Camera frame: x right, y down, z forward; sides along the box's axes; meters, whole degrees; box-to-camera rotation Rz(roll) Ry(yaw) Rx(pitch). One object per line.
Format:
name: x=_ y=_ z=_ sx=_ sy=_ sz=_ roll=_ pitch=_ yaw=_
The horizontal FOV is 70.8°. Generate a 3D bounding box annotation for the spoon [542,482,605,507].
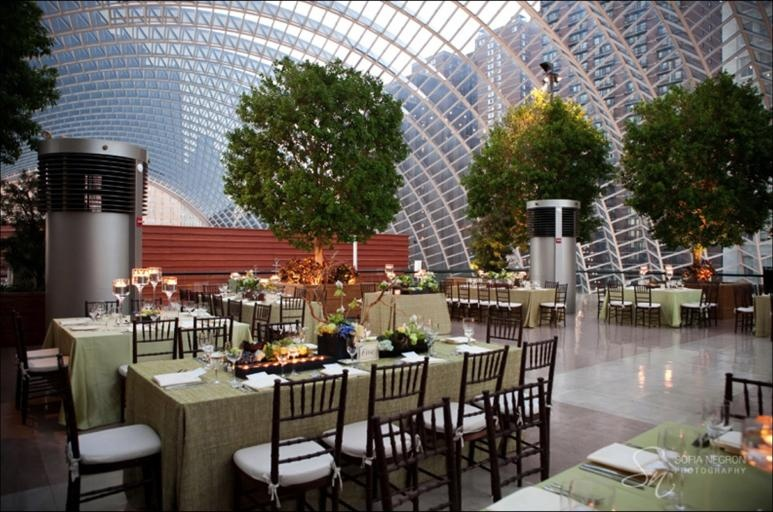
spoon: x=1.645 y=2.030 z=4.681 sx=0.221 sy=0.140 sz=0.374 roll=2 pitch=-8 yaw=-35

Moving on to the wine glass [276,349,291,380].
wine glass: x=-1.232 y=1.287 z=6.550 sx=0.137 sy=0.323 sz=0.274 roll=-1 pitch=-1 yaw=-11

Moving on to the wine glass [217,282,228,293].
wine glass: x=-4.786 y=0.924 z=15.892 sx=0.192 sy=0.212 sz=0.176 roll=-2 pitch=6 yaw=-30

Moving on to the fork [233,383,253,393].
fork: x=-1.634 y=1.503 z=6.209 sx=0.089 sy=0.022 sz=0.308 roll=-9 pitch=12 yaw=-31

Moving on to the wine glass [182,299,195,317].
wine glass: x=-3.975 y=1.037 z=10.918 sx=0.172 sy=0.196 sz=0.170 roll=-4 pitch=10 yaw=-23

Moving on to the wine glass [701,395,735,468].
wine glass: x=3.184 y=1.625 z=5.333 sx=0.278 sy=0.392 sz=0.579 roll=-2 pitch=-1 yaw=32

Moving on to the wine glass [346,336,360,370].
wine glass: x=-0.434 y=1.202 z=6.989 sx=0.142 sy=0.373 sz=0.286 roll=-1 pitch=-1 yaw=-5
